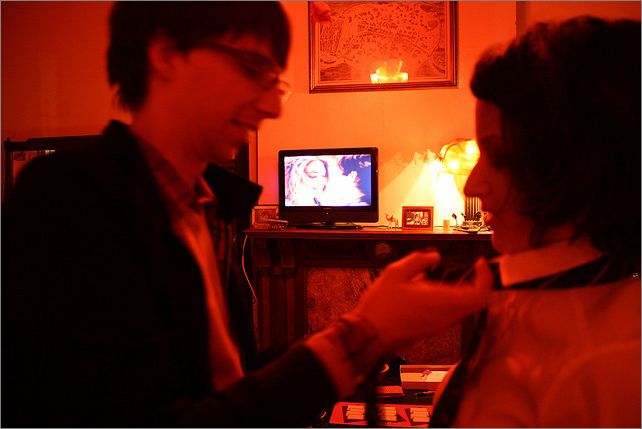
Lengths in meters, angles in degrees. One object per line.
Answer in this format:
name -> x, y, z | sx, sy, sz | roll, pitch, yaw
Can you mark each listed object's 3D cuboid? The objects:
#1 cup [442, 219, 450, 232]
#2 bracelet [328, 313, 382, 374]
cup -> 0.797, 0.068, 3.577 | 0.058, 0.065, 0.058 | 1, -1, 0
bracelet -> 0.069, 0.252, 1.167 | 0.112, 0.111, 0.032 | -2, 8, 20
